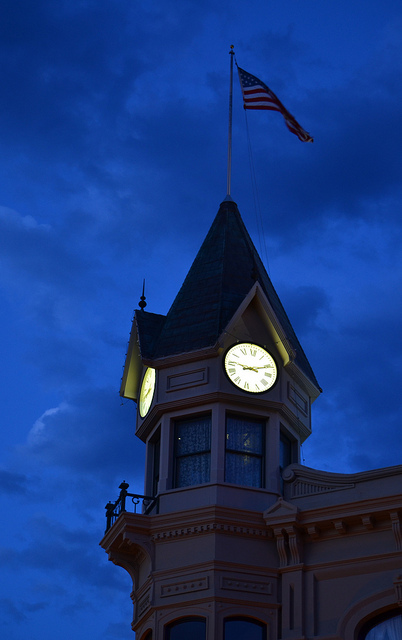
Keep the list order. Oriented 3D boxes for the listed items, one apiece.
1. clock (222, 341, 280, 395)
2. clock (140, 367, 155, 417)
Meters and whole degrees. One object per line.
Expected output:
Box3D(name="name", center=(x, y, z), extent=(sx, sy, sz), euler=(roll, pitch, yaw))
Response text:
Box3D(name="clock", center=(1.327, 1.253, 33.907), extent=(1.605, 1.578, 0.314), euler=(15, -27, -24))
Box3D(name="clock", center=(-1.424, 1.998, 35.171), extent=(0.117, 1.092, 1.093), euler=(10, -22, -11))
